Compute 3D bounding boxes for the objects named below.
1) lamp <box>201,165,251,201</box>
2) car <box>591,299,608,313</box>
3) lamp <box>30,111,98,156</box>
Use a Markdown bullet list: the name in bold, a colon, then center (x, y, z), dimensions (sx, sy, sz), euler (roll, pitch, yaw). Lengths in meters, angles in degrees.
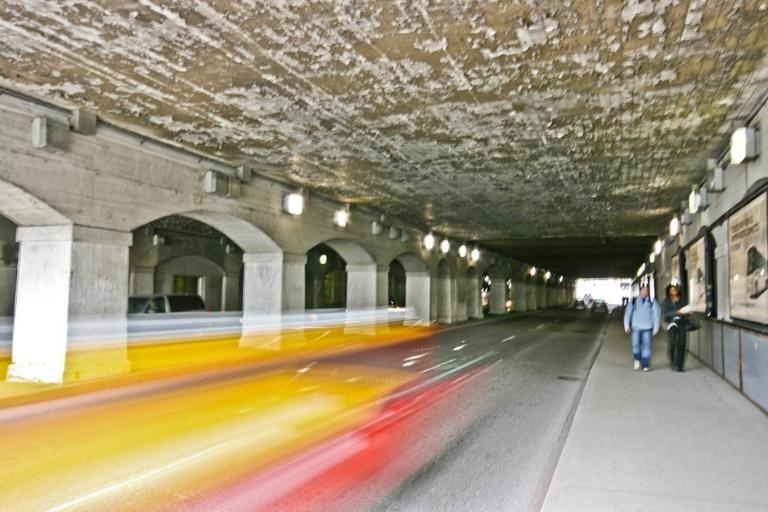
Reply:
- **lamp**: center (-4.481, -2.039, 14.520), dimensions (0.185, 0.646, 1.165), euler (4, 0, 25)
- **car**: center (20.538, 5.297, 49.723), dimensions (1.157, 0.864, 2.619), euler (1, 4, 31)
- **lamp**: center (-6.819, -2.704, 11.119), dimensions (0.299, 0.925, 1.177), euler (3, 5, 37)
